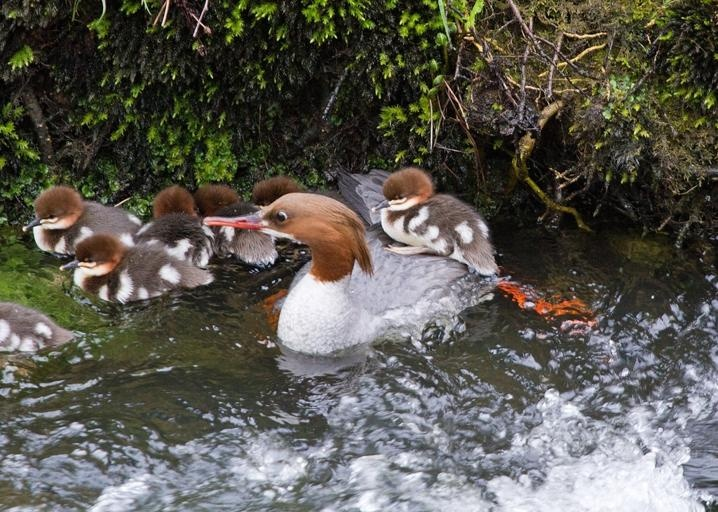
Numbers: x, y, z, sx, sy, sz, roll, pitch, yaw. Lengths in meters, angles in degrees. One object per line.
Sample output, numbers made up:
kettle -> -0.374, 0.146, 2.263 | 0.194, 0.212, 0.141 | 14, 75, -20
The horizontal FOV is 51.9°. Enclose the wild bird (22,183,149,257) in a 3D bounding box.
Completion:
wild bird -> -2.766, -0.328, 7.186 | 1.205, 0.670, 0.605 | -6, 31, -24

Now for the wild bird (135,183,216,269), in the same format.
wild bird -> -1.749, -0.302, 7.146 | 0.726, 0.550, 0.891 | 2, 21, -10
